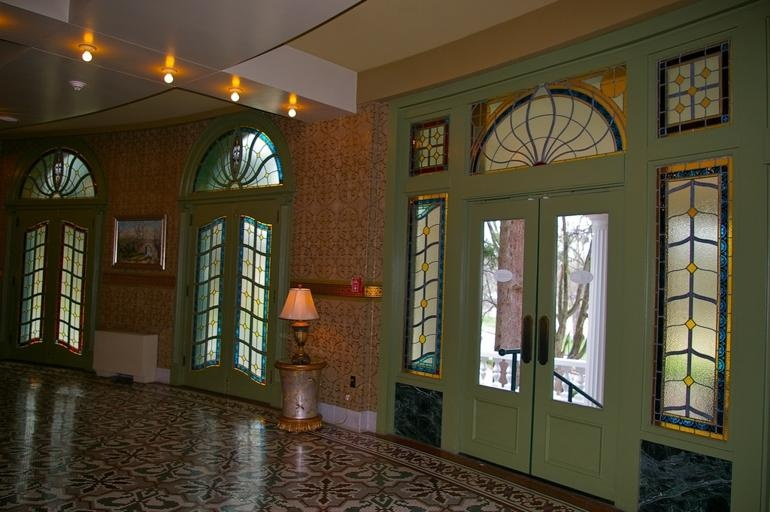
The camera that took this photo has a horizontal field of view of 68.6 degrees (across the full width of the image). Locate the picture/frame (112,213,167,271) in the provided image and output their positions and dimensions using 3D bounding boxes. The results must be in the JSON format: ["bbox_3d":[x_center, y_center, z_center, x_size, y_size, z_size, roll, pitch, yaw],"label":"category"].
[{"bbox_3d":[-4.114,-0.240,9.458,1.175,0.871,0.051,2,0,19],"label":"picture/frame"}]

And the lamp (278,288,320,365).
[{"bbox_3d":[-1.144,0.871,7.427,0.478,0.949,0.655,1,5,-7],"label":"lamp"}]
